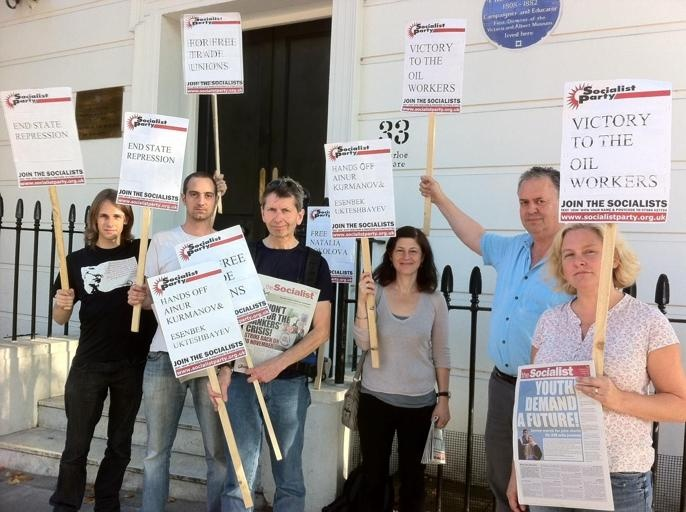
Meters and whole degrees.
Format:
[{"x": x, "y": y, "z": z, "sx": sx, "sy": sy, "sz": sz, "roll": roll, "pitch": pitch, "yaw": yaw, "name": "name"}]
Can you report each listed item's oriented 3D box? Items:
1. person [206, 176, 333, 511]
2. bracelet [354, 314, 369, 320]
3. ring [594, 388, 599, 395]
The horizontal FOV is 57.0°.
[{"x": -0.449, "y": 0.594, "z": 4.234, "sx": 0.767, "sy": 2.257, "sz": 0.438, "roll": 1, "pitch": 2, "yaw": -10, "name": "person"}, {"x": 0.124, "y": 0.428, "z": 4.386, "sx": 0.083, "sy": 0.046, "sz": 0.048, "roll": 1, "pitch": 2, "yaw": 10, "name": "bracelet"}, {"x": 1.292, "y": 0.686, "z": 3.184, "sx": 0.031, "sy": 0.032, "sz": 0.012, "roll": 0, "pitch": -5, "yaw": 12, "name": "ring"}]
